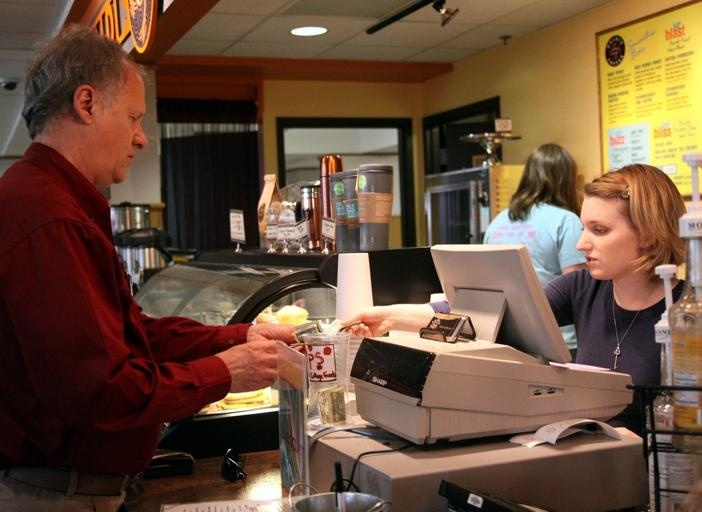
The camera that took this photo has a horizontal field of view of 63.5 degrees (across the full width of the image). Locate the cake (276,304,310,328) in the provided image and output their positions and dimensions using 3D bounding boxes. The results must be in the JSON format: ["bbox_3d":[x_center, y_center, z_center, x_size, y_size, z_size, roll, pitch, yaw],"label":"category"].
[{"bbox_3d":[-0.228,0.231,2.195,0.091,0.057,0.093,0,-7,0],"label":"cake"}]

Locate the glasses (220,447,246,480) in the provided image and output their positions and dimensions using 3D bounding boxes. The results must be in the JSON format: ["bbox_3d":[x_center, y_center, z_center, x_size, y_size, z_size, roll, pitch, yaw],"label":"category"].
[{"bbox_3d":[-0.353,0.650,1.743,0.091,0.058,0.059,8,14,12],"label":"glasses"}]

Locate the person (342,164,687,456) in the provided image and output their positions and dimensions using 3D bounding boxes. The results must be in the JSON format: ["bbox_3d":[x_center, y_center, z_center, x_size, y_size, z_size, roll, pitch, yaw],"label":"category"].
[{"bbox_3d":[0.461,0.149,2.236,1.101,1.258,0.746,5,-6,-17],"label":"person"}]

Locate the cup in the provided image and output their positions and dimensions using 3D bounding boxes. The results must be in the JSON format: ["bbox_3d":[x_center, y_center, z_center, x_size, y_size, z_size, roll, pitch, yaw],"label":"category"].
[{"bbox_3d":[-0.064,0.326,1.544,0.118,0.259,0.156,-2,5,-4],"label":"cup"}]

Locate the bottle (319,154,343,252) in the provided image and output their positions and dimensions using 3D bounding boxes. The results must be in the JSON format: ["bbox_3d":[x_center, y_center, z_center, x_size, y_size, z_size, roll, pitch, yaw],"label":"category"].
[{"bbox_3d":[-0.086,-0.244,2.556,0.102,0.442,0.261,-2,5,-3],"label":"bottle"}]

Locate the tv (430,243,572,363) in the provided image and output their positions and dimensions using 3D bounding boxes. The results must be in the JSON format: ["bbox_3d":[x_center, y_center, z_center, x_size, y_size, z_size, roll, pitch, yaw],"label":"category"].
[{"bbox_3d":[0.390,0.128,1.587,0.166,0.322,0.379,-5,2,-28],"label":"tv"}]
